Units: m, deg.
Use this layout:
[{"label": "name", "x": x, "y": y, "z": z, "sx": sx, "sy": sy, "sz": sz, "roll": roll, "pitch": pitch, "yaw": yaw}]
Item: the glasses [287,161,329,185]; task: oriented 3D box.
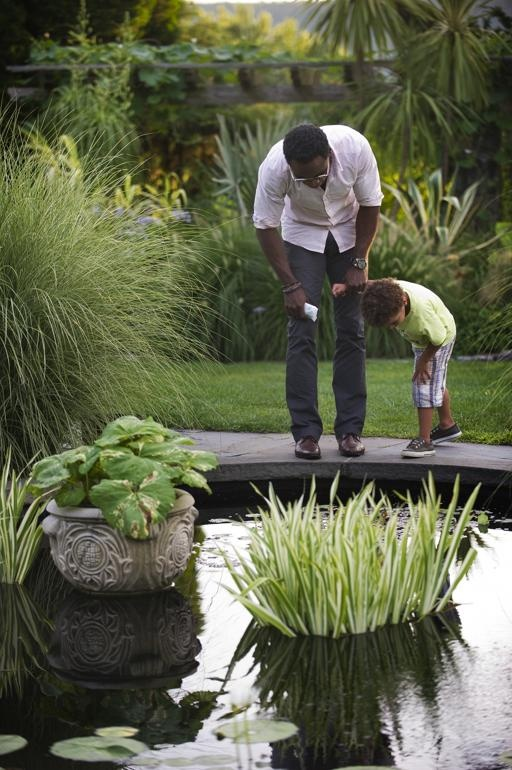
[{"label": "glasses", "x": 0.187, "y": -0.754, "z": 3.072, "sx": 0.132, "sy": 0.081, "sz": 0.158, "roll": -2, "pitch": 8, "yaw": 7}]

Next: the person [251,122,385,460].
[{"label": "person", "x": 0.243, "y": -0.355, "z": 3.413, "sx": 0.439, "sy": 1.276, "sz": 0.404, "roll": -9, "pitch": 11, "yaw": -28}]

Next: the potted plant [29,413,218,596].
[{"label": "potted plant", "x": -0.341, "y": 0.288, "z": 2.300, "sx": 0.497, "sy": 0.380, "sz": 0.475, "roll": 0, "pitch": -2, "yaw": -3}]

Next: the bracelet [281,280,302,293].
[{"label": "bracelet", "x": 0.138, "y": -0.372, "z": 3.361, "sx": 0.054, "sy": 0.022, "sz": 0.053, "roll": -25, "pitch": 2, "yaw": 1}]

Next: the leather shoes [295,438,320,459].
[{"label": "leather shoes", "x": 0.198, "y": 0.252, "z": 3.349, "sx": 0.100, "sy": 0.071, "sz": 0.143, "roll": -3, "pitch": 8, "yaw": 1}]

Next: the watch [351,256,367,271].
[{"label": "watch", "x": 0.409, "y": -0.469, "z": 3.382, "sx": 0.066, "sy": 0.037, "sz": 0.064, "roll": 4, "pitch": -2, "yaw": 14}]

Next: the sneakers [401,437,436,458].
[{"label": "sneakers", "x": 0.641, "y": 0.246, "z": 3.395, "sx": 0.058, "sy": 0.059, "sz": 0.158, "roll": -7, "pitch": -11, "yaw": 39}]
